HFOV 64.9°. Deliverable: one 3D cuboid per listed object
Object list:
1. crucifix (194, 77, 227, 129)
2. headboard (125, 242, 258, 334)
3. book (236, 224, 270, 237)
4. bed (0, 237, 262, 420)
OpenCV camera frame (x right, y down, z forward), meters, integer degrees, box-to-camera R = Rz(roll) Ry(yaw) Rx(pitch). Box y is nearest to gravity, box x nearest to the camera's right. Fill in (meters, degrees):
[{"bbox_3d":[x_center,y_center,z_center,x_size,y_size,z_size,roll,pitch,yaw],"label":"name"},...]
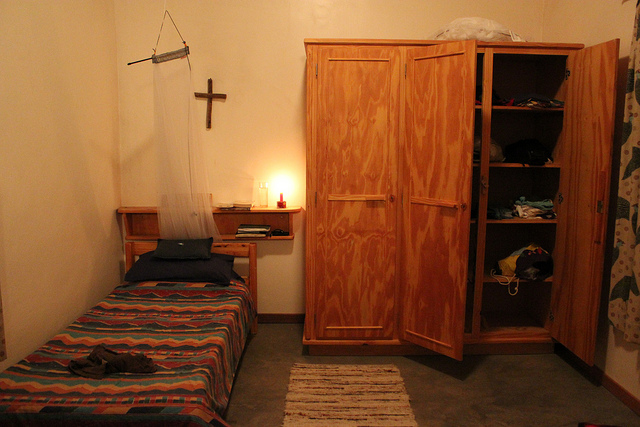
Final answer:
[{"bbox_3d":[-1.206,-1.223,5.566,0.335,0.551,0.090,-4,8,-18],"label":"crucifix"},{"bbox_3d":[-1.281,0.835,5.110,0.278,1.219,1.643,-19,-17,38],"label":"headboard"},{"bbox_3d":[-0.751,0.194,5.554,0.353,0.136,0.132,-2,8,-3],"label":"book"},{"bbox_3d":[-1.526,1.029,4.517,1.349,0.736,1.826,0,8,3],"label":"bed"}]
